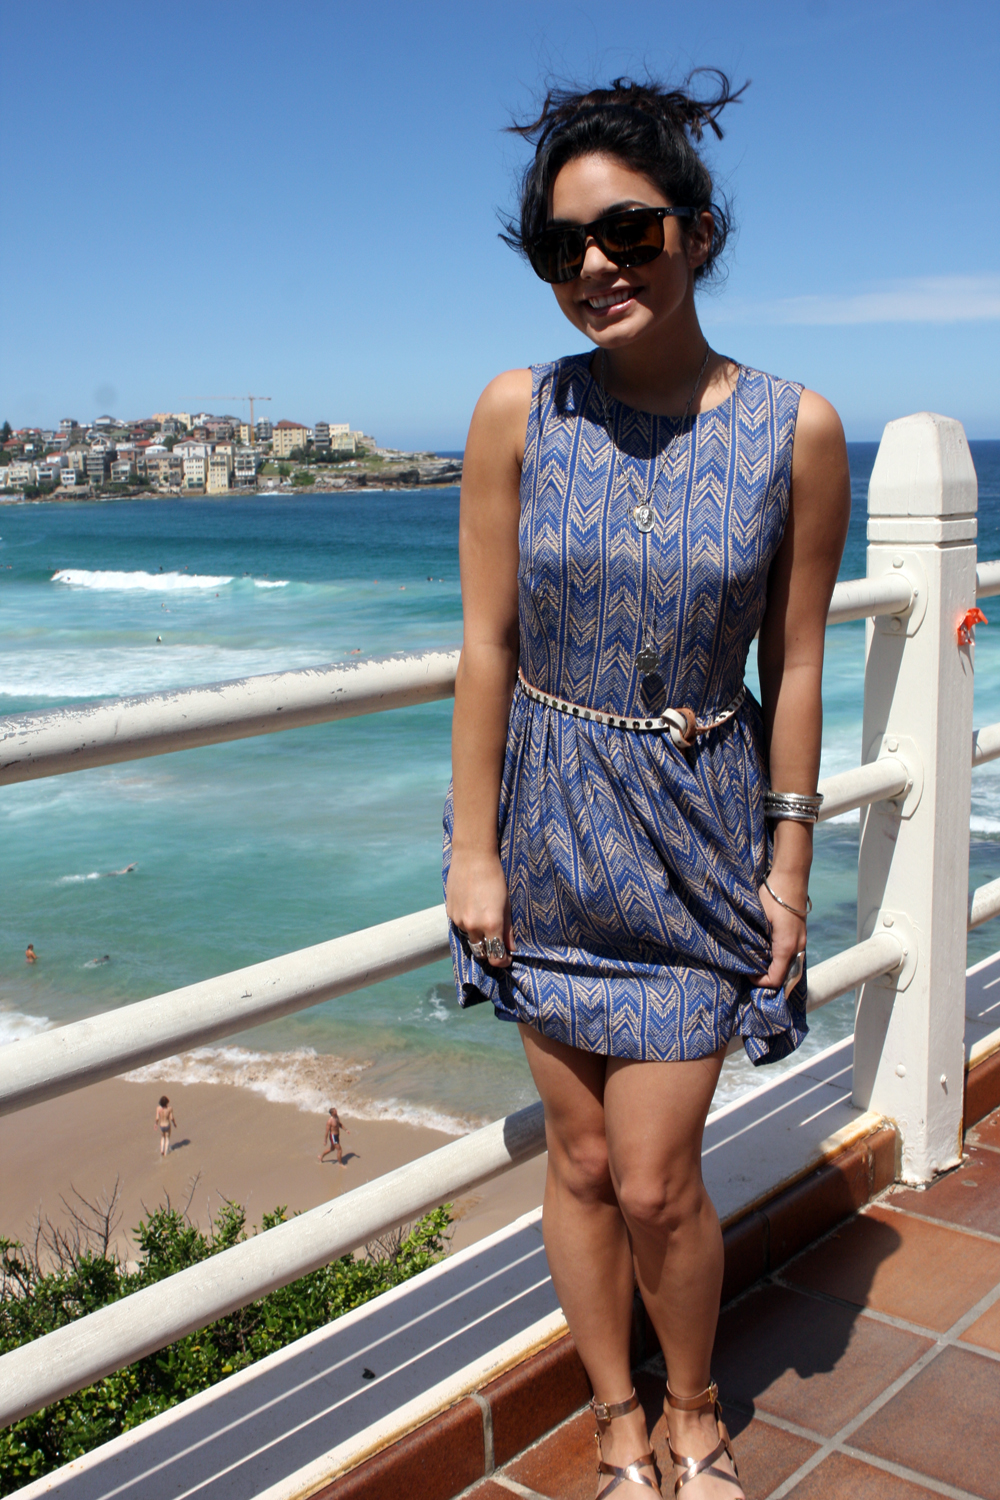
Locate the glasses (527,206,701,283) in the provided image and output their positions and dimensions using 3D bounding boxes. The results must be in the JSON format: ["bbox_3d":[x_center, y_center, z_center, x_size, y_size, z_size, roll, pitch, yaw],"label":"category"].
[{"bbox_3d":[0.102,-0.516,1.214,0.101,0.037,0.098,-5,14,33],"label":"glasses"}]

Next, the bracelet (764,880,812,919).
[{"bbox_3d":[0.324,0.178,1.380,0.050,0.013,0.045,49,21,21],"label":"bracelet"}]

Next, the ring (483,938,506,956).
[{"bbox_3d":[-0.007,0.215,1.327,0.019,0.013,0.024,-2,-23,4],"label":"ring"}]

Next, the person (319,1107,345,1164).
[{"bbox_3d":[-2.059,4.485,14.476,0.275,0.538,1.008,-4,9,-8],"label":"person"}]

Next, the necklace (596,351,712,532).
[{"bbox_3d":[0.163,-0.335,1.287,0.126,0.195,0.145,-2,9,6],"label":"necklace"}]

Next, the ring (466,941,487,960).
[{"bbox_3d":[-0.025,0.221,1.348,0.022,0.021,0.018,-1,2,30],"label":"ring"}]
